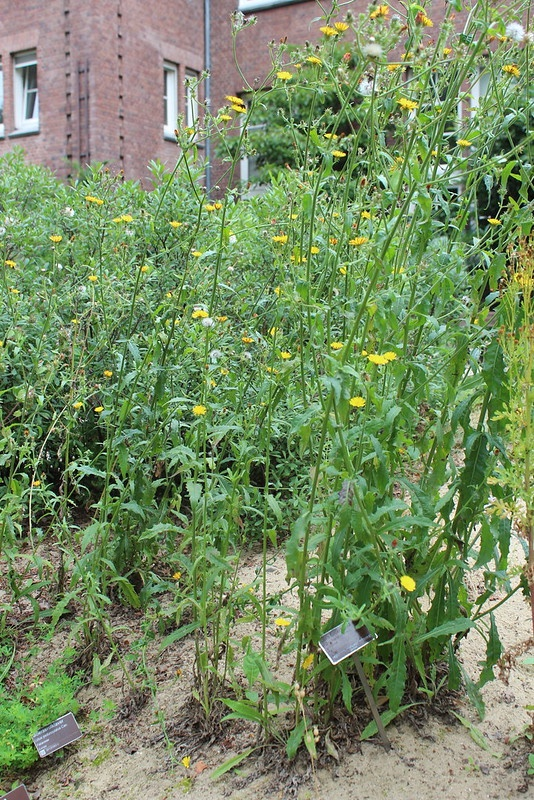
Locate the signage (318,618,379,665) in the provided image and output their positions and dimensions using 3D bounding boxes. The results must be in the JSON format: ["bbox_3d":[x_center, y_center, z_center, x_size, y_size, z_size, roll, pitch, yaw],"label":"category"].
[{"bbox_3d":[0.162,0.503,1.499,0.113,0.083,0.070,-2,8,-32],"label":"signage"}]
